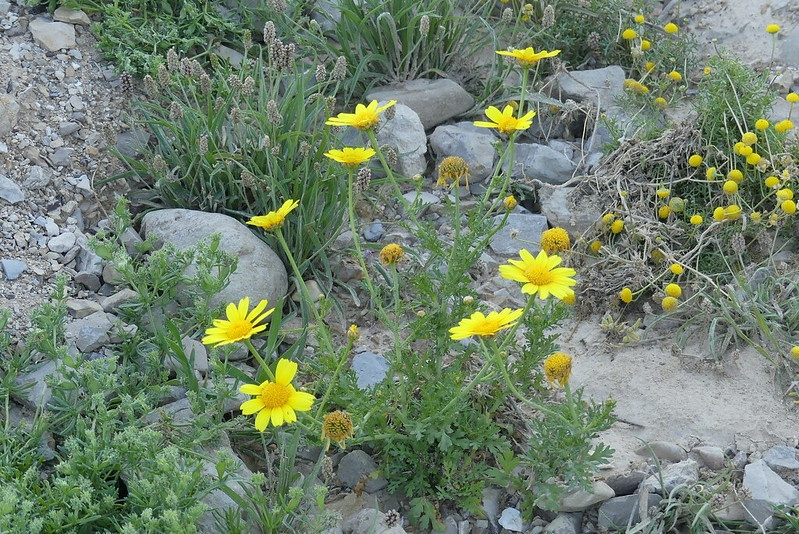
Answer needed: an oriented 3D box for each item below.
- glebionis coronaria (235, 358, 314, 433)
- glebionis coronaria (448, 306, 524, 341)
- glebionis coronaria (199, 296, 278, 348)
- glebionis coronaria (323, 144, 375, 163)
[{"bbox_3d":[-0.513,0.519,3.030,0.285,0.086,0.342,17,44,3],"label":"glebionis coronaria"},{"bbox_3d":[0.338,0.273,3.108,0.198,0.058,0.207,-27,17,-22],"label":"glebionis coronaria"},{"bbox_3d":[-0.655,0.266,3.070,0.311,0.087,0.322,-6,31,15],"label":"glebionis coronaria"},{"bbox_3d":[-0.190,-0.497,3.253,0.145,0.048,0.153,5,31,17],"label":"glebionis coronaria"}]
